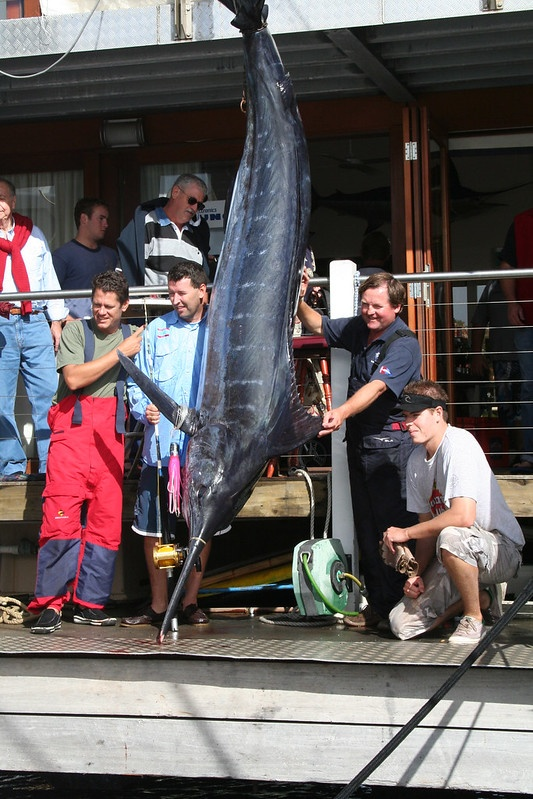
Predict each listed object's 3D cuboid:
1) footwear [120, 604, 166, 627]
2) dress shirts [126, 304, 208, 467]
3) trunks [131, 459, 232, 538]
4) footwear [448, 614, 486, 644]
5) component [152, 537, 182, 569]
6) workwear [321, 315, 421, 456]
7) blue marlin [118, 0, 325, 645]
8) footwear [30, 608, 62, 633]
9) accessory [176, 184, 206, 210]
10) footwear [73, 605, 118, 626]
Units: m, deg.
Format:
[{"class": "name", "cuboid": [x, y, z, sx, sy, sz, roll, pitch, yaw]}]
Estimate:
[{"class": "footwear", "cuboid": [-0.525, 0.935, 4.923, 0.189, 0.064, 0.066, 5, -7, -27]}, {"class": "dress shirts", "cuboid": [-0.423, -0.065, 4.879, 0.420, 0.628, 0.177, 5, -2, -12]}, {"class": "trunks", "cuboid": [-0.387, 0.430, 5.080, 0.124, 0.324, 0.375, 4, -1, -44]}, {"class": "footwear", "cuboid": [0.748, 0.864, 4.320, 0.064, 0.062, 0.182, -8, -9, 29]}, {"class": "component", "cuboid": [-0.380, 0.614, 4.534, 0.129, 0.107, 0.104, 1, 40, 3]}, {"class": "workwear", "cuboid": [0.445, -0.058, 4.853, 0.395, 0.589, 0.644, 2, 1, -24]}, {"class": "blue marlin", "cuboid": [-0.087, -0.344, 4.203, 0.572, 2.140, 0.359, 0, 1, 0]}, {"class": "footwear", "cuboid": [-0.906, 0.915, 4.753, 0.065, 0.063, 0.157, -2, -6, 10]}, {"class": "accessory", "cuboid": [-0.391, -1.025, 5.816, 0.120, 0.037, 0.115, 30, 10, 30]}, {"class": "footwear", "cuboid": [-0.741, 0.932, 4.975, 0.207, 0.073, 0.074, 1, 0, 22]}]
